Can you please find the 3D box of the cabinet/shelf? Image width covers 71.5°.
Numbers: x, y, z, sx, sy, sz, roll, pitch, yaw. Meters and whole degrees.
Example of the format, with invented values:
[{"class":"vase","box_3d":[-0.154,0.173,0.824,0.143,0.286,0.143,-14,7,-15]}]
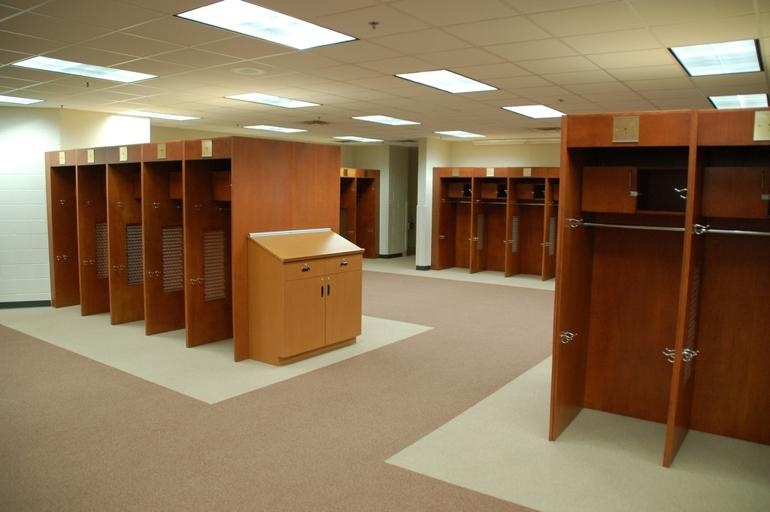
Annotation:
[{"class":"cabinet/shelf","box_3d":[-1.188,0.530,7.863,1.586,1.804,0.736,-9,16,-39]}]
